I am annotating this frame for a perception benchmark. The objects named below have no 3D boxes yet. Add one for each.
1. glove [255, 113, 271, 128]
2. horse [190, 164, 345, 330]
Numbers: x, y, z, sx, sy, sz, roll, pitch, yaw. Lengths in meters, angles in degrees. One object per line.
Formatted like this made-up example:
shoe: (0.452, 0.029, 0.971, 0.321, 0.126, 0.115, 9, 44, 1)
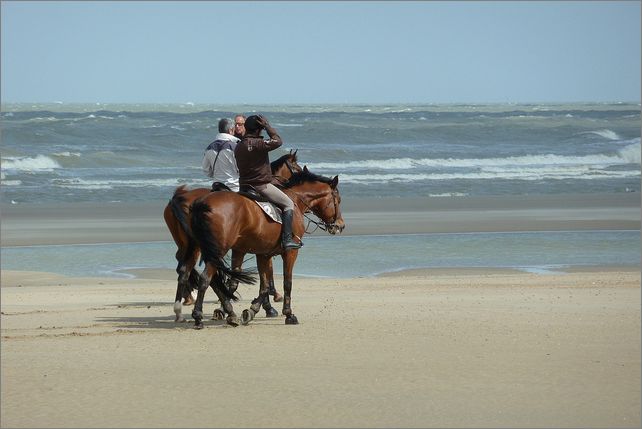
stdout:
glove: (-1.255, -1.915, 21.622, 0.178, 0.218, 0.294, -44, 31, 1)
horse: (-1.269, 0.682, 22.171, 1.492, 3.233, 5.144, -1, -3, 37)
